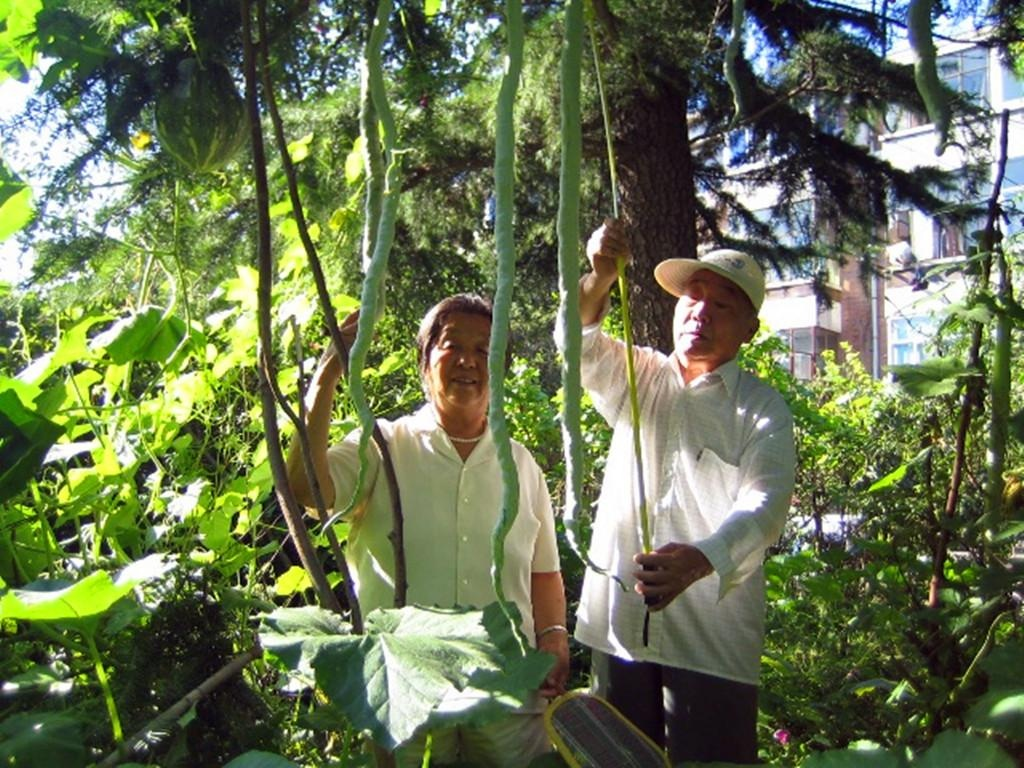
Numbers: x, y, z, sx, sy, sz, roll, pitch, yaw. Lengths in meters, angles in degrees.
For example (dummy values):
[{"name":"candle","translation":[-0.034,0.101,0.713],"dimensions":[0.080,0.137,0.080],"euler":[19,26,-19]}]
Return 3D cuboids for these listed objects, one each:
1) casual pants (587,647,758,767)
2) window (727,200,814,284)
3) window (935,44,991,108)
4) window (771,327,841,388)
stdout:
[{"name":"casual pants","translation":[0.399,0.821,2.342],"dimensions":[0.438,0.255,0.176],"euler":[-8,-11,41]},{"name":"window","translation":[1.423,-0.781,4.875],"dimensions":[0.380,0.478,0.263],"euler":[4,9,9]},{"name":"window","translation":[2.143,-1.461,4.350],"dimensions":[0.253,0.360,0.020],"euler":[-2,-23,31]},{"name":"window","translation":[5.618,-0.525,17.799],"dimensions":[0.755,1.540,1.426],"euler":[17,4,34]}]
